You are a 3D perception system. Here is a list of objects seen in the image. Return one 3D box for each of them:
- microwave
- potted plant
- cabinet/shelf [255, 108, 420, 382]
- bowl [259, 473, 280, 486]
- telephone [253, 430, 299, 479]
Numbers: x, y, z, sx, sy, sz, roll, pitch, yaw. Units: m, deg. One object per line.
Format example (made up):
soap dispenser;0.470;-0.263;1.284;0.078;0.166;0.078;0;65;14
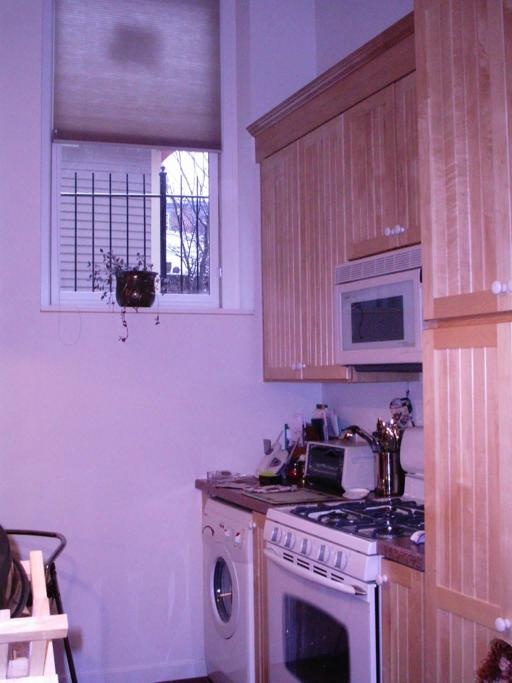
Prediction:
microwave;0.435;-0.068;2.135;0.195;0.366;0.422;1;-5;-16
potted plant;-0.664;-0.223;3.049;0.323;0.392;0.450;0;3;-24
cabinet/shelf;0.215;-0.533;2.998;0.317;1.136;0.983;4;20;31
bowl;0.066;0.641;2.796;0.058;0.050;0.051;3;-4;-18
telephone;0.100;0.568;3.008;0.217;0.172;0.506;-7;-3;6
